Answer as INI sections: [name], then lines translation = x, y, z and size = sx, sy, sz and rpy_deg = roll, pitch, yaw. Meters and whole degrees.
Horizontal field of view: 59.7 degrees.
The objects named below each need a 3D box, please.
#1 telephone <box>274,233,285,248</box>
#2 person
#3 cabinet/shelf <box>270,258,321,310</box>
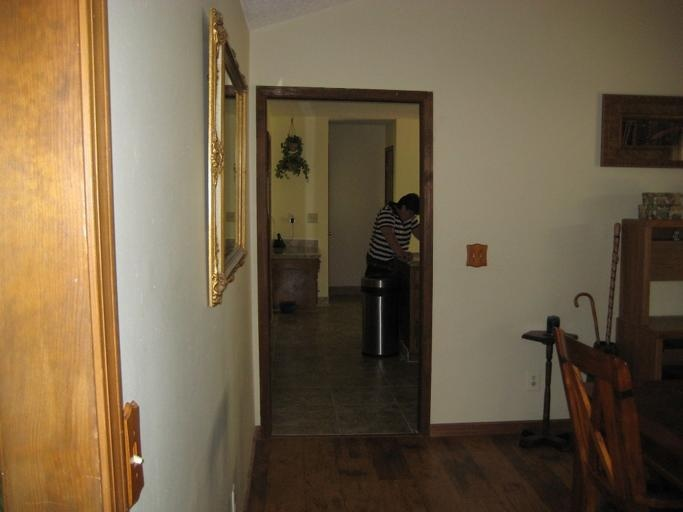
[telephone]
translation = -0.798, -0.191, 7.865
size = 0.110, 0.207, 0.196
rpy_deg = 0, -8, -3
[person]
translation = 0.522, -0.204, 5.730
size = 0.449, 0.789, 0.692
rpy_deg = -2, 6, -20
[cabinet/shelf]
translation = -0.598, 0.312, 8.012
size = 0.721, 0.795, 0.582
rpy_deg = 0, 1, -6
